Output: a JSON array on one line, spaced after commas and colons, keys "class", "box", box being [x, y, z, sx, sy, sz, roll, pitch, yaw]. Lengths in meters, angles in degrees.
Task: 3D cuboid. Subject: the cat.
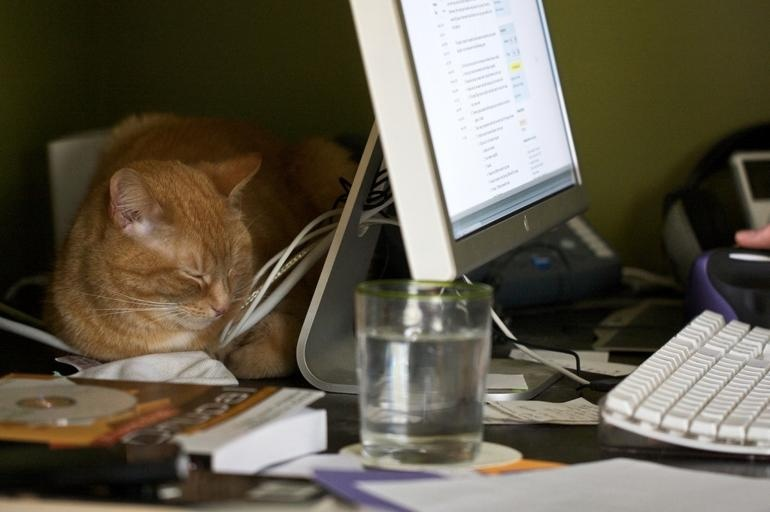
[{"class": "cat", "box": [-0.341, -0.022, 1.289, 0.404, 0.297, 0.571, 10, 40, -10]}]

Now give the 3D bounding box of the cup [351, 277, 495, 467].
[{"class": "cup", "box": [0.044, 0.130, 0.750, 0.139, 0.188, 0.090, -2, 23, 10]}]
